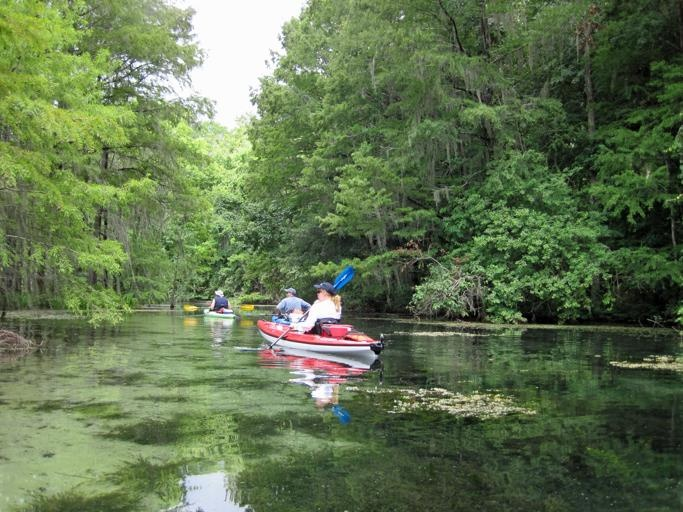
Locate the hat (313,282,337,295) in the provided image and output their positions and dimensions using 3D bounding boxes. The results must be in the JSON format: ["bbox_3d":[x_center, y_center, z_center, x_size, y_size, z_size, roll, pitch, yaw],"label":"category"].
[{"bbox_3d":[-0.528,0.791,17.297,0.569,0.237,0.373,18,-15,21],"label":"hat"}]

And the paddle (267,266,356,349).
[{"bbox_3d":[-1.017,1.832,23.990,3.940,0.523,0.326,-45,19,-23],"label":"paddle"}]

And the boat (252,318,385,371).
[{"bbox_3d":[-0.644,2.346,17.596,1.264,0.788,4.195,23,-10,-41],"label":"boat"}]

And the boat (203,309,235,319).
[{"bbox_3d":[-5.903,2.866,31.002,0.649,0.359,1.978,-1,1,-44],"label":"boat"}]
